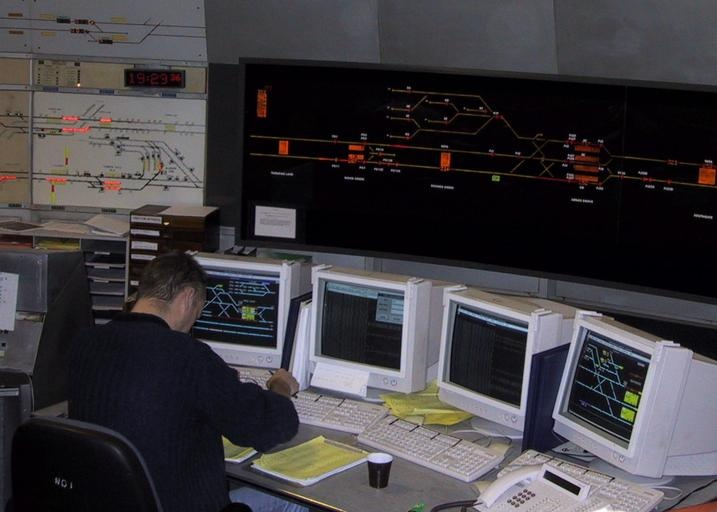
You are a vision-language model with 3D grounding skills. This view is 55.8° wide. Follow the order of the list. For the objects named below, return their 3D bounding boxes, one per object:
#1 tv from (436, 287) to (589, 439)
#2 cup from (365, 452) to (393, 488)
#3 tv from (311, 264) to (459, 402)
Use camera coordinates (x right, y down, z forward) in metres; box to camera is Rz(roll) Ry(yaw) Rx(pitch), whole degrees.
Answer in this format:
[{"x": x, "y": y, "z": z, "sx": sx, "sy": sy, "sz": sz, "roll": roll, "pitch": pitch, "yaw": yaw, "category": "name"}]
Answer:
[{"x": 0.708, "y": 0.453, "z": 3.133, "sx": 0.426, "sy": 0.504, "sz": 0.519, "roll": 0, "pitch": 8, "yaw": -34, "category": "tv"}, {"x": 0.062, "y": 0.855, "z": 2.746, "sx": 0.137, "sy": 0.120, "sz": 0.125, "roll": 3, "pitch": 10, "yaw": -1, "category": "cup"}, {"x": 0.136, "y": 0.356, "z": 3.535, "sx": 0.657, "sy": 0.541, "sz": 0.492, "roll": 6, "pitch": 5, "yaw": 33, "category": "tv"}]
